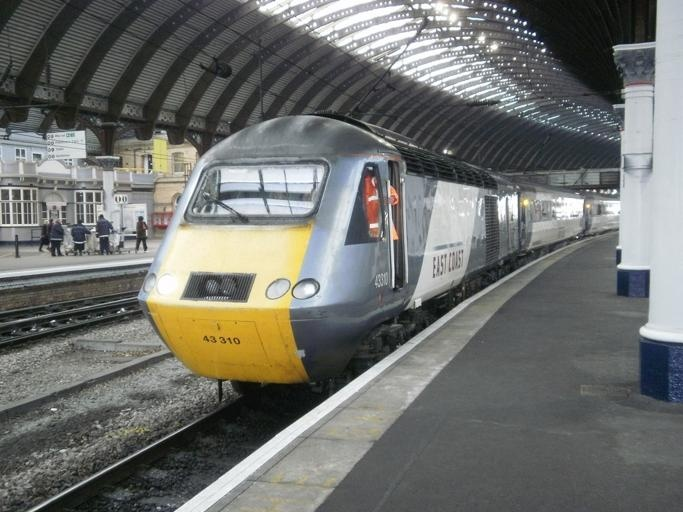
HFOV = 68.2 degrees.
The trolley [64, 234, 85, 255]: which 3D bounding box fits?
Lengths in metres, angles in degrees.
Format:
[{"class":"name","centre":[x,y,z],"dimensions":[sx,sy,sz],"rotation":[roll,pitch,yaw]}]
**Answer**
[{"class":"trolley","centre":[-14.284,-0.461,27.078],"dimensions":[0.767,0.642,1.784],"rotation":[11,-40,-13]}]

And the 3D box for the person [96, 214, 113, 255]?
[{"class":"person","centre":[-12.645,-1.005,26.974],"dimensions":[0.774,2.263,1.323],"rotation":[-4,4,-25]}]
